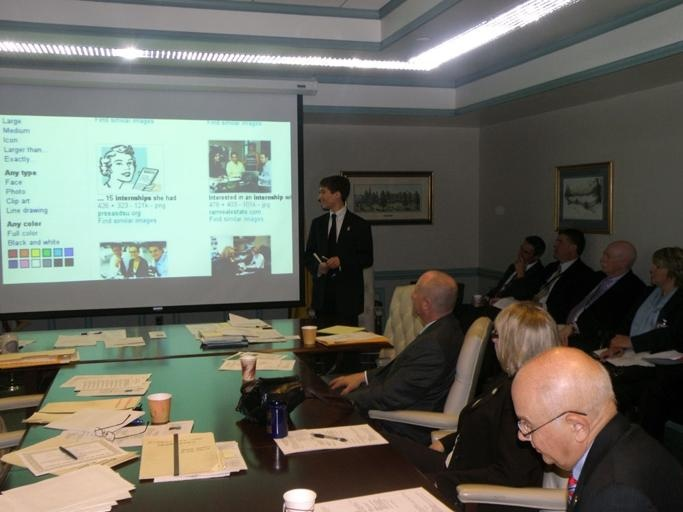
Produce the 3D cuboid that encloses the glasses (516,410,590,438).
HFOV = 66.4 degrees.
[{"bbox_3d":[0.661,0.527,1.664,0.131,0.034,0.126,-28,-10,3],"label":"glasses"}]

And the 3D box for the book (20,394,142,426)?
[{"bbox_3d":[-1.218,0.715,2.449,0.215,0.060,0.230,0,3,7],"label":"book"}]

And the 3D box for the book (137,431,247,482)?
[{"bbox_3d":[-0.588,0.779,2.072,0.389,0.039,0.381,0,6,-18],"label":"book"}]

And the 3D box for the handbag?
[{"bbox_3d":[-0.263,0.646,2.423,0.326,0.121,0.255,-2,0,-16],"label":"handbag"}]

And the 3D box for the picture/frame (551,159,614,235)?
[{"bbox_3d":[2.621,-0.629,5.610,0.032,0.863,0.837,-1,2,-21],"label":"picture/frame"}]

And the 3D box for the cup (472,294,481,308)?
[{"bbox_3d":[1.512,0.500,5.799,0.106,0.122,0.111,0,-1,0],"label":"cup"}]

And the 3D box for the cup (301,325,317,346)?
[{"bbox_3d":[-0.220,0.556,3.651,0.117,0.123,0.119,0,-2,0],"label":"cup"}]

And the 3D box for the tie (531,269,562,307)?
[{"bbox_3d":[2.193,0.324,5.545,0.122,0.374,0.267,27,3,8],"label":"tie"}]

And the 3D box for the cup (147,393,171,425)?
[{"bbox_3d":[-0.799,0.671,2.300,0.119,0.126,0.123,0,-7,0],"label":"cup"}]

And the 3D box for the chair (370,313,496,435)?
[{"bbox_3d":[0.488,0.741,3.148,0.688,0.824,0.585,-1,20,5],"label":"chair"}]

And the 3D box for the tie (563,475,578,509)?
[{"bbox_3d":[0.751,0.771,1.708,0.036,0.104,0.078,10,6,27],"label":"tie"}]

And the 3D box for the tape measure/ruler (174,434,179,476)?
[{"bbox_3d":[-0.640,0.777,2.027,0.013,0.007,0.173,2,11,-13],"label":"tape measure/ruler"}]

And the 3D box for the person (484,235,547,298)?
[{"bbox_3d":[2.029,0.147,6.000,0.497,0.735,0.604,-2,7,-33],"label":"person"}]
